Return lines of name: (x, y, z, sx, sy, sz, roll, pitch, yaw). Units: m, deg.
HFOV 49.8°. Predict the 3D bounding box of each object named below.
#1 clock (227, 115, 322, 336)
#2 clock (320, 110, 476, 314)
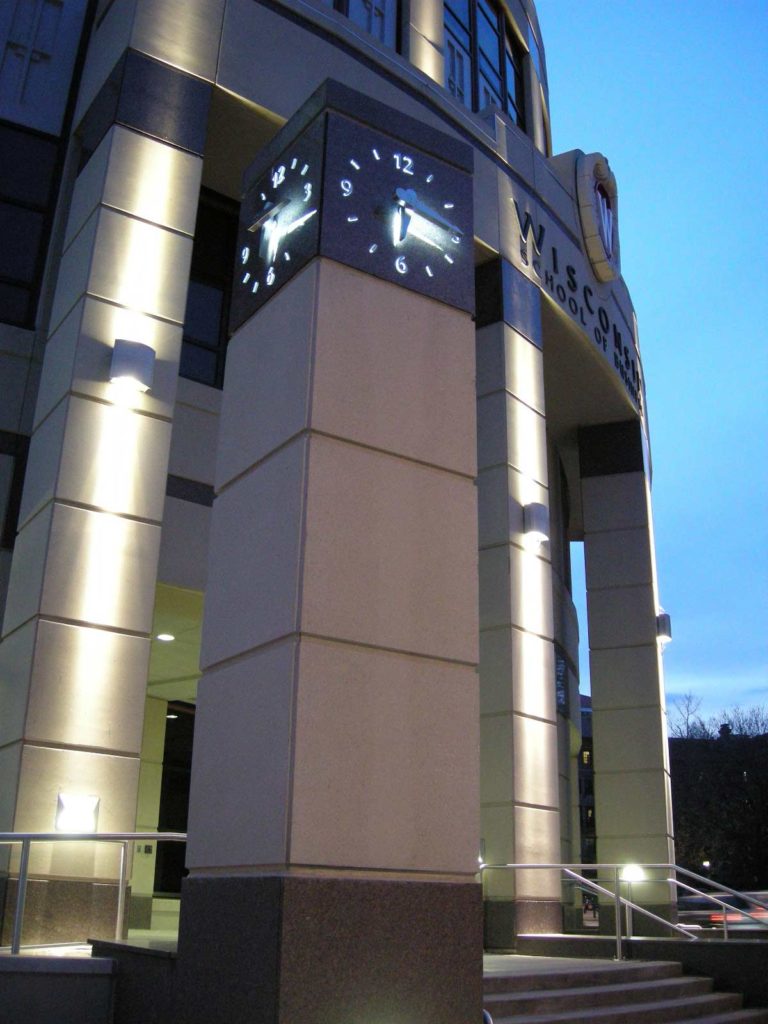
clock: (-0.619, -1.623, 4.631, 0.661, 0.906, 0.068, -14, -24, 37)
clock: (0.050, -1.584, 4.436, 0.989, 1.062, 0.117, 19, -27, -37)
